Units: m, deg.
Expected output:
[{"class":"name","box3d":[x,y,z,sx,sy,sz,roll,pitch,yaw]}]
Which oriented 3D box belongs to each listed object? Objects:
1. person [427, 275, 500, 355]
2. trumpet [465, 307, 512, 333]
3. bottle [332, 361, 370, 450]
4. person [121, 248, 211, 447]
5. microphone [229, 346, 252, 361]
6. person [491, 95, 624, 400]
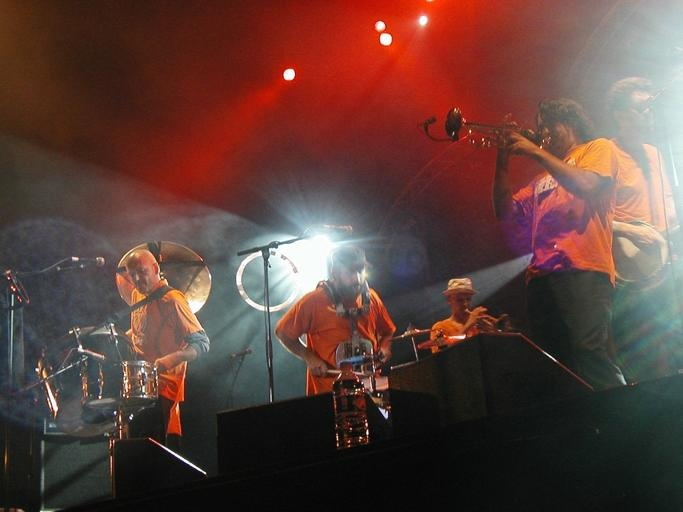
[{"class":"person","box3d":[1.000,0.545,6.184,0.546,0.881,0.544,2,0,-31]},{"class":"trumpet","box3d":[1.106,0.486,5.321,0.300,0.159,0.179,17,-26,37]},{"class":"bottle","box3d":[0.022,0.836,3.867,0.293,0.569,0.304,-5,-21,-2]},{"class":"person","box3d":[-1.647,0.683,6.099,0.578,1.871,0.675,5,-4,-42]},{"class":"microphone","box3d":[-1.125,1.020,7.270,0.065,0.078,0.249,-16,-7,17]},{"class":"person","box3d":[1.518,-0.043,4.965,0.731,2.003,0.723,1,2,17]}]
